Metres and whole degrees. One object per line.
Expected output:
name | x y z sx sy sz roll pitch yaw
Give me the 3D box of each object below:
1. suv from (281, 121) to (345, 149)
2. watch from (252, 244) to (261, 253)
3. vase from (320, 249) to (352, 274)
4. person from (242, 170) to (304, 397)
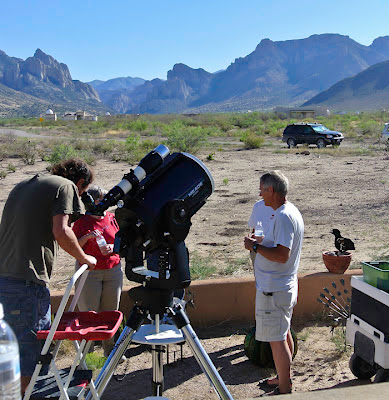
suv | 7.793 -4.375 27.679 3.723 1.716 1.788 2 8 23
watch | 0.487 0.391 3.309 0.052 0.073 0.073 24 0 39
vase | 1.746 0.770 5.071 0.313 0.244 0.260 1 8 16
person | 0.652 0.703 3.386 0.456 1.873 0.614 0 8 13
